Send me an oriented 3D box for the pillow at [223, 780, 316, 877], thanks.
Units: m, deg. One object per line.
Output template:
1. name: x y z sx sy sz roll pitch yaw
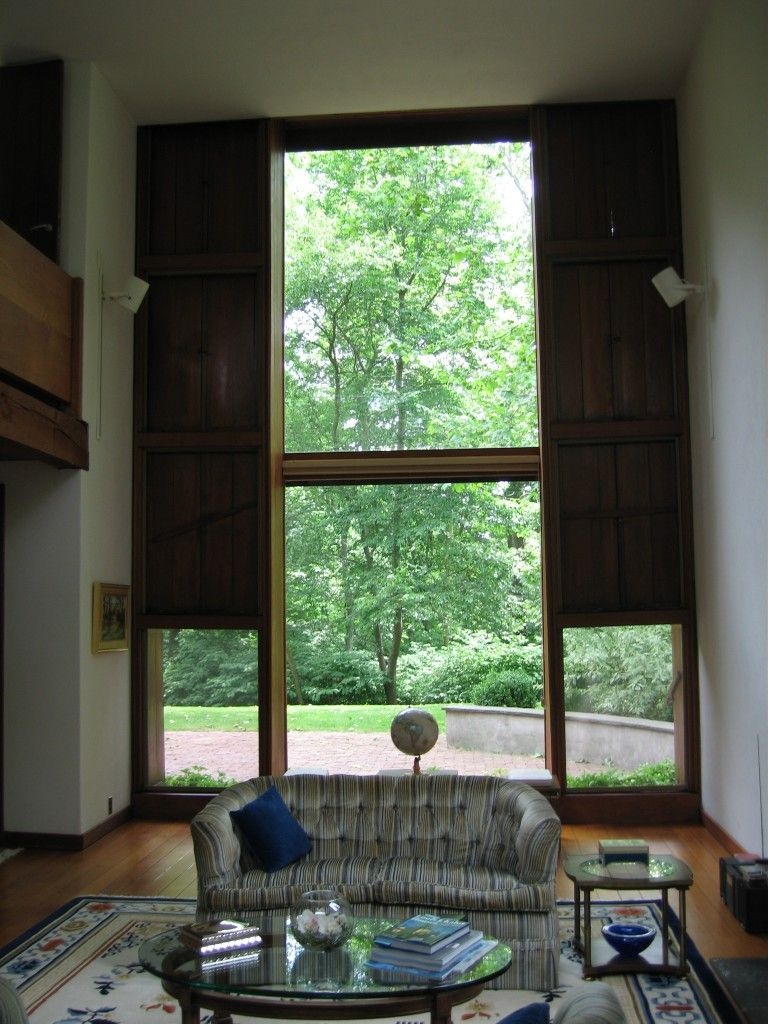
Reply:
1. pillow: -0.590 1.410 4.457 0.433 0.112 0.419 -10 -29 -27

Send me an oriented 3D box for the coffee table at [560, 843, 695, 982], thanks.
1. coffee table: 1.112 1.804 4.189 0.613 0.427 0.647 5 -13 -32

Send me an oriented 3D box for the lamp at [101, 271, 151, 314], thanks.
1. lamp: -1.945 -1.638 6.992 0.394 0.308 0.243 22 0 38

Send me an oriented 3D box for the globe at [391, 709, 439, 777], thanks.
1. globe: 0.193 1.407 5.710 0.288 0.434 0.297 0 -4 -20

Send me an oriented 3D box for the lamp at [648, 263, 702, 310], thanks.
1. lamp: 2.148 -1.702 6.902 0.335 0.305 0.538 -3 0 16
